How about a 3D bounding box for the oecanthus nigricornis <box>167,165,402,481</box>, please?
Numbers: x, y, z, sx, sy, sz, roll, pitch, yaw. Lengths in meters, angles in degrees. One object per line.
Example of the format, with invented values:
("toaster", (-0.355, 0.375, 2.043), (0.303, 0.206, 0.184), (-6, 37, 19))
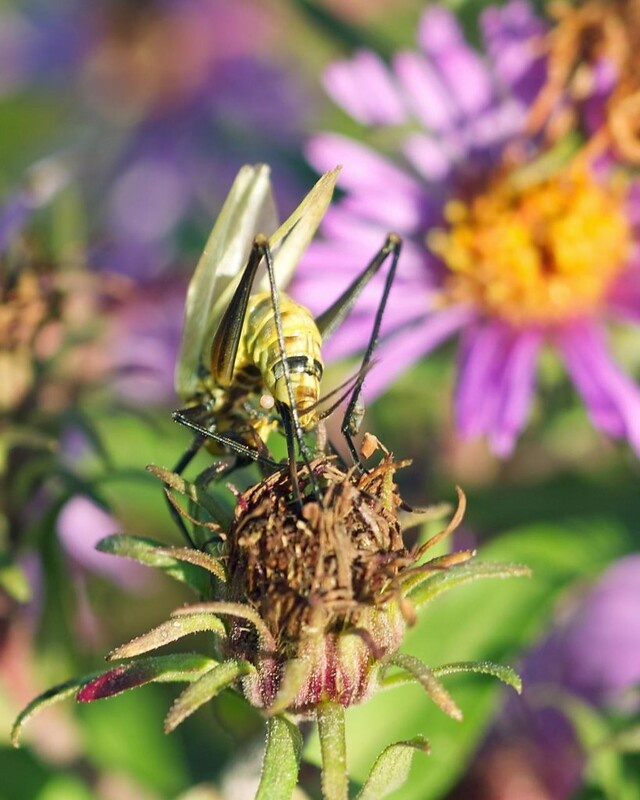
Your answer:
("oecanthus nigricornis", (-0.050, -0.068, 0.857), (0.195, 0.296, 0.192), (1, 89, -11))
